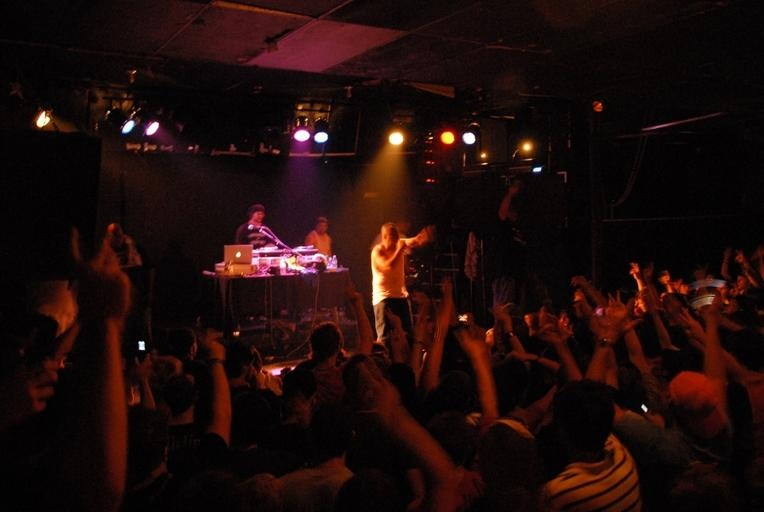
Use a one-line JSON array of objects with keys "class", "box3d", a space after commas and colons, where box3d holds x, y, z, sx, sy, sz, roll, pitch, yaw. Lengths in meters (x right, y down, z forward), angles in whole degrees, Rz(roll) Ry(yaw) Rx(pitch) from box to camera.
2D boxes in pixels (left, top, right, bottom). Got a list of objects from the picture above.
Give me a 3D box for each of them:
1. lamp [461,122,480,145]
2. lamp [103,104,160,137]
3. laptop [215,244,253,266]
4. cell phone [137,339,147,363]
[{"class": "lamp", "box3d": [1.119, -1.522, 7.492, 0.333, 0.314, 0.125, 1, 4, -43]}, {"class": "lamp", "box3d": [-3.010, -1.602, 7.228, 0.542, 0.268, 0.367, 4, -16, -26]}, {"class": "laptop", "box3d": [-1.868, -0.025, 7.801, 0.353, 0.234, 0.243, 0, 4, -12]}, {"class": "cell phone", "box3d": [-1.998, 0.793, 5.006, 0.084, 0.166, 0.081, 3, 3, -25]}]
